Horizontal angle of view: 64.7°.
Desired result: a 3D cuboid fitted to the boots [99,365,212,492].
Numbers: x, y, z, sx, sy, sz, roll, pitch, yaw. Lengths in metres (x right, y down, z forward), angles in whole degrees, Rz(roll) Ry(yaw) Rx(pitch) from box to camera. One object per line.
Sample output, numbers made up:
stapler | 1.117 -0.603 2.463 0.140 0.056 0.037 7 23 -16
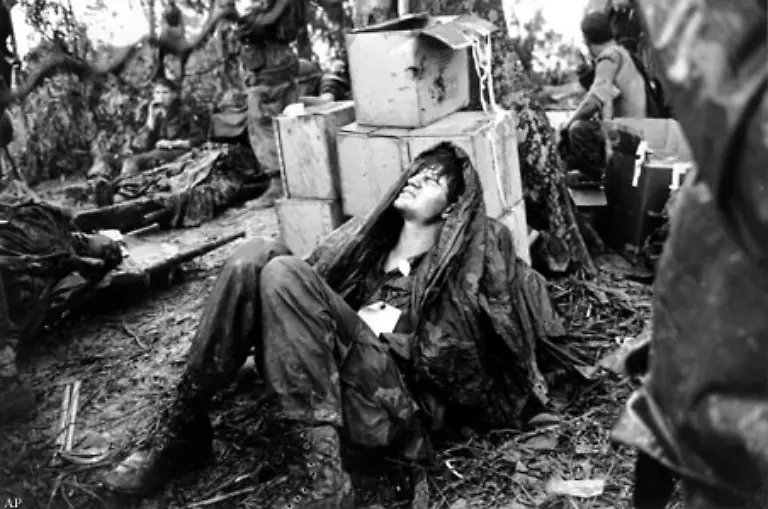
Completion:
boots | -1.024 0.840 2.785 0.228 0.465 0.641 -1 -11 24

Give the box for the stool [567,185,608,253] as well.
stool | 1.677 -0.266 4.996 0.276 0.444 0.556 1 13 18

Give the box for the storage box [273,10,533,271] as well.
storage box | 0.083 -0.694 4.645 2.058 2.093 1.592 6 22 30
